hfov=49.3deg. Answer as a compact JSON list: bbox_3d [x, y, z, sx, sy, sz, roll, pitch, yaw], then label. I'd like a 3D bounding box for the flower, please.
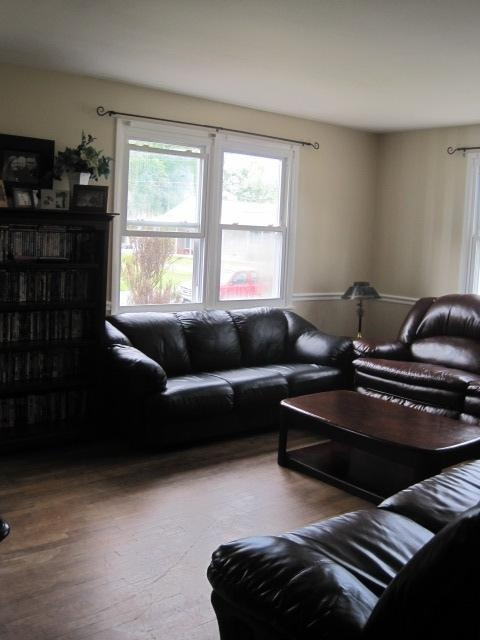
[{"bbox_3d":[-1.081,-1.147,3.815,0.426,0.337,0.416,6,10,34],"label":"flower"}]
